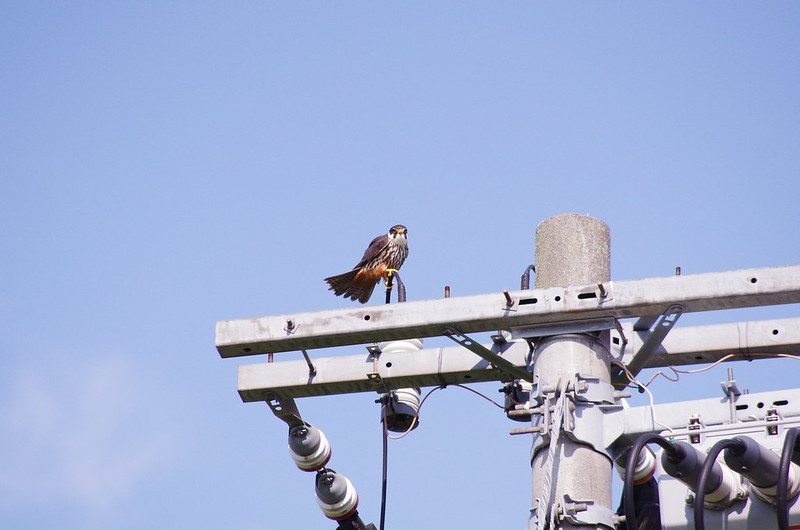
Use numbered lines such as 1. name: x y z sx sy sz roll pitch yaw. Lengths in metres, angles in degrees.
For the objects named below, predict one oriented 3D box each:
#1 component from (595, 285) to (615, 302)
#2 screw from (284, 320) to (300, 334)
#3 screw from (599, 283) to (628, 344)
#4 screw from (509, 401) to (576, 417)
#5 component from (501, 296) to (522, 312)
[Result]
1. component: 1.332 0.132 11.931 0.109 0.107 0.128 -5 -21 19
2. screw: -0.731 0.363 12.490 0.094 0.100 0.106 -4 -26 9
3. screw: 1.354 0.233 11.813 0.088 0.083 0.538 8 -59 54
4. screw: 0.910 0.895 11.634 0.344 0.061 0.080 -5 -43 24
5. component: 0.732 0.189 12.107 0.088 0.095 0.100 -1 -10 10
